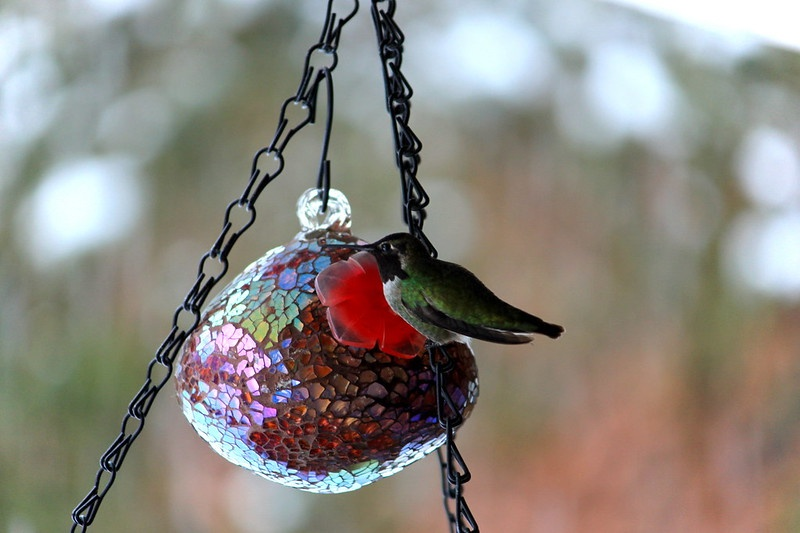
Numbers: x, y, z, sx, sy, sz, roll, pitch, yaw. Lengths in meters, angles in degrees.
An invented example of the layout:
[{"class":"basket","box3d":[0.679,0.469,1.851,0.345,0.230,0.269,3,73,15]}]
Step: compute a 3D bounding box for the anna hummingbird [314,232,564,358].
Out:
[{"class":"anna hummingbird","box3d":[0.131,0.053,3.495,0.478,0.314,0.210,8,41,9]}]
